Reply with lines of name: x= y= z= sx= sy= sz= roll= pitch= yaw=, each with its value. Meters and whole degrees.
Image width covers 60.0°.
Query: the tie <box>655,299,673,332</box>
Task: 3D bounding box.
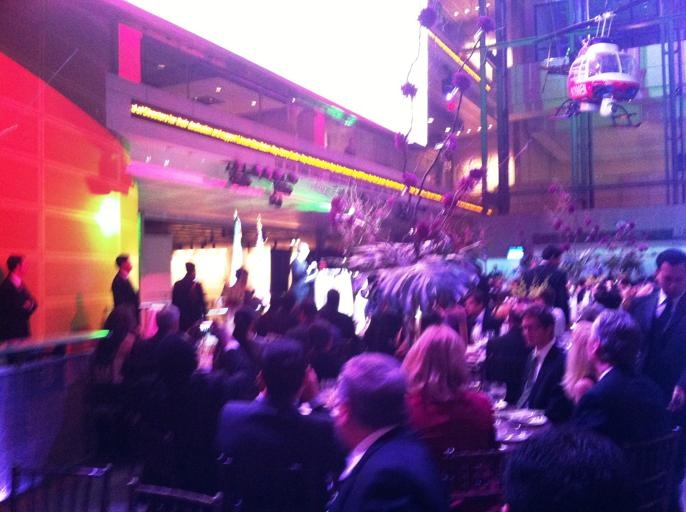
tie: x=2.509 y=0.472 z=4.638 sx=0.141 sy=0.060 sz=0.626 roll=-16 pitch=17 yaw=34

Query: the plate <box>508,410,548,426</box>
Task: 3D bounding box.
plate: x=1.344 y=1.169 z=4.300 sx=0.271 sy=0.046 sz=0.300 roll=1 pitch=2 yaw=25

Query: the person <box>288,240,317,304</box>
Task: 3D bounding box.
person: x=-0.574 y=0.327 z=9.872 sx=0.394 sy=1.318 sz=0.304 roll=9 pitch=41 yaw=9
